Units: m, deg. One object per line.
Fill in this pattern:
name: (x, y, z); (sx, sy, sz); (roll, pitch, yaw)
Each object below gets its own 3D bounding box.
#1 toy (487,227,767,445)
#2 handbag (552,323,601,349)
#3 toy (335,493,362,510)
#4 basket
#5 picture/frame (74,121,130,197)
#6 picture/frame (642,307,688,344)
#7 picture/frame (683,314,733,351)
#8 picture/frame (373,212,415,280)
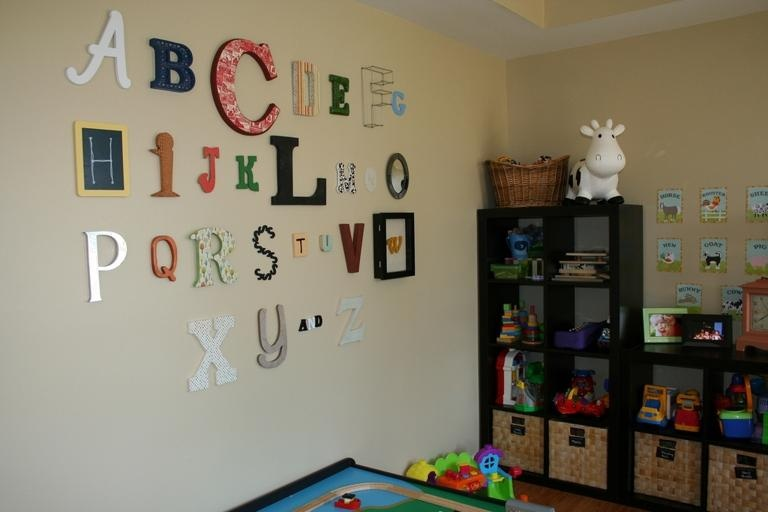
toy: (1.601, 0.516, 3.628); (1.405, 1.390, 0.427); (0, 0, 34)
handbag: (1.297, 0.522, 3.756); (0.178, 0.082, 0.216); (-3, 2, 36)
toy: (-0.145, 1.034, 2.405); (0.053, 0.026, 0.056); (0, 1, 24)
basket: (0.984, -0.506, 3.868); (0.453, 0.295, 0.361); (-5, 4, -13)
picture/frame: (-1.122, -0.388, 2.260); (0.021, 0.283, 0.210); (8, 11, 32)
picture/frame: (1.803, 0.441, 3.625); (0.211, 0.195, 0.017); (2, -3, 5)
picture/frame: (2.018, 0.484, 3.525); (0.273, 0.216, 0.149); (-2, -24, 30)
picture/frame: (0.047, -0.069, 3.277); (0.077, 0.415, 0.374); (1, 3, 39)
